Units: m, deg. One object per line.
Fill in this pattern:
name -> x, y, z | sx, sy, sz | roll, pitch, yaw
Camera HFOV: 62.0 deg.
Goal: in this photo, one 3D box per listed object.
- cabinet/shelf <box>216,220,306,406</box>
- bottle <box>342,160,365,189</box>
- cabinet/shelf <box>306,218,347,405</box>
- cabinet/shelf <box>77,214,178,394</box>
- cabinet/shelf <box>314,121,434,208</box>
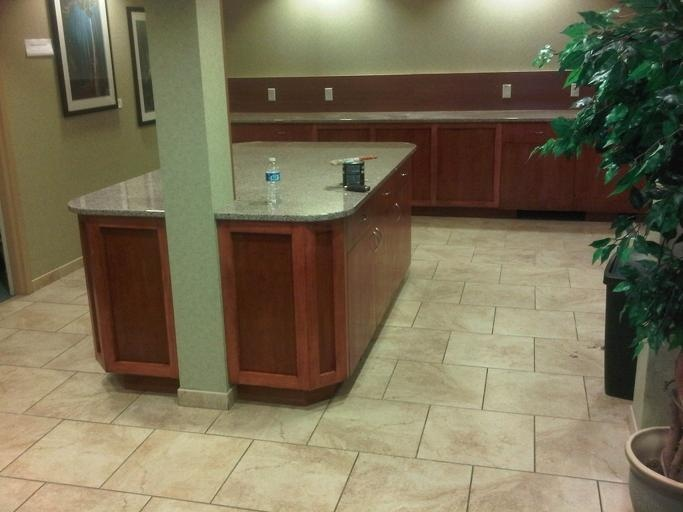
cabinet/shelf -> -0.307, 0.235, 3.141 | 0.622, 0.876, 0.553 | 0, 9, 9
bottle -> 0.081, -0.465, 3.275 | 0.173, 0.142, 0.156 | -1, 16, 4
cabinet/shelf -> -0.078, 0.263, 2.933 | 0.241, 0.883, 0.097 | -8, 21, -18
cabinet/shelf -> -1.150, 0.225, 3.083 | 0.522, 0.896, 0.121 | 3, 20, 12
cabinet/shelf -> 0.419, -1.081, 6.759 | 1.739, 1.061, 0.838 | 1, 18, 7
